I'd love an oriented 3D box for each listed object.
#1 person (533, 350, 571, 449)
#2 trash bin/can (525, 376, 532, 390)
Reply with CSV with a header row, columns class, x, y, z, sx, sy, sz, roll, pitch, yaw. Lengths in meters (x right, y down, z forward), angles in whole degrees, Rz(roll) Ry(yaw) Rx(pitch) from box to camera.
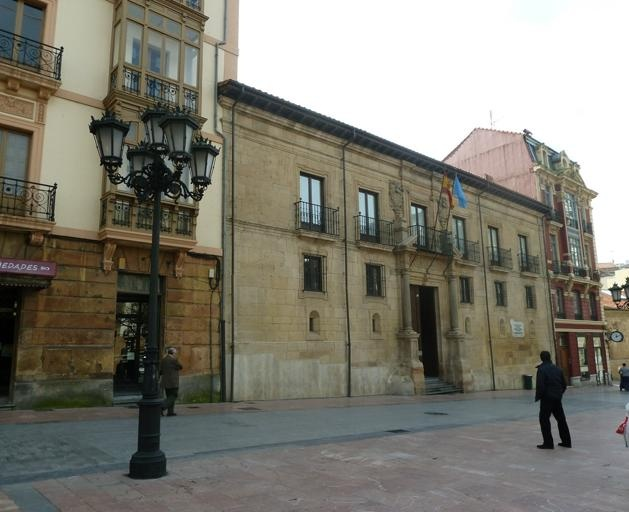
class,x,y,z,sx,sy,sz,roll,pitch,yaw
person,4.944,2.971,11.018,0.645,1.942,1.152,-6,-13,24
trash bin/can,12.483,7.388,30.800,0.497,0.760,0.959,-5,-13,20
